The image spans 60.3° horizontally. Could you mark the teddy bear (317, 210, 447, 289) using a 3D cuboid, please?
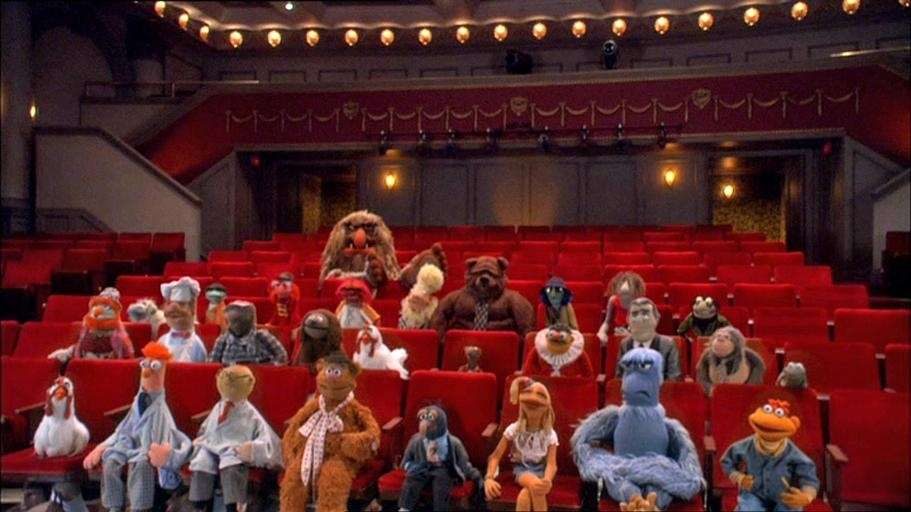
[{"bbox_3d":[-1.072,-0.042,10.727,1.845,1.322,1.006,1,-13,-6],"label":"teddy bear"}]

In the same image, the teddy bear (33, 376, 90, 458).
[{"bbox_3d":[-4.507,1.826,8.944,0.554,0.884,0.190,5,-6,-26],"label":"teddy bear"}]
